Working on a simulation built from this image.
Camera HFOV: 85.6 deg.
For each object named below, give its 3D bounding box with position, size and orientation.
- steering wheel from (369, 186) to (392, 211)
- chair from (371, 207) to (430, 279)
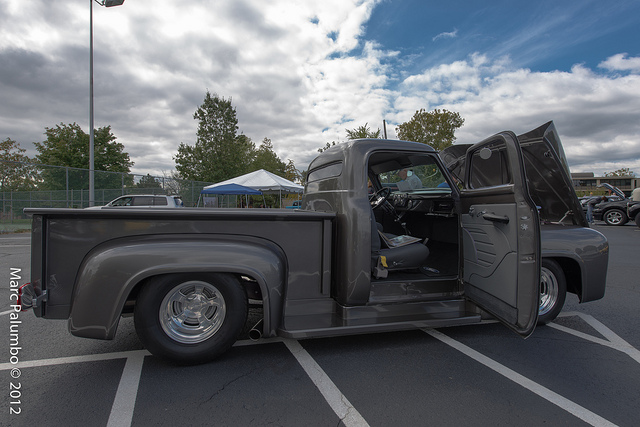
[{"bbox_3d":[0.853,-0.216,4.904,0.222,0.327,0.645,2,13,7],"label":"steering wheel"},{"bbox_3d":[0.934,0.317,4.736,0.890,0.749,0.937,-2,13,-6],"label":"chair"}]
